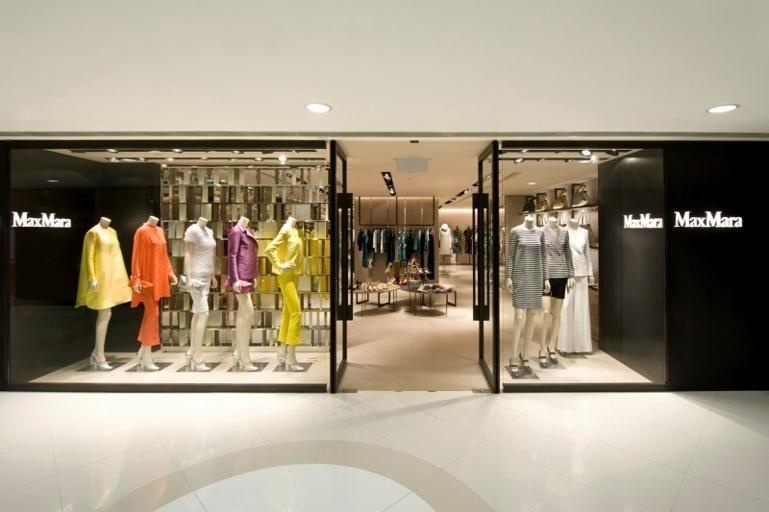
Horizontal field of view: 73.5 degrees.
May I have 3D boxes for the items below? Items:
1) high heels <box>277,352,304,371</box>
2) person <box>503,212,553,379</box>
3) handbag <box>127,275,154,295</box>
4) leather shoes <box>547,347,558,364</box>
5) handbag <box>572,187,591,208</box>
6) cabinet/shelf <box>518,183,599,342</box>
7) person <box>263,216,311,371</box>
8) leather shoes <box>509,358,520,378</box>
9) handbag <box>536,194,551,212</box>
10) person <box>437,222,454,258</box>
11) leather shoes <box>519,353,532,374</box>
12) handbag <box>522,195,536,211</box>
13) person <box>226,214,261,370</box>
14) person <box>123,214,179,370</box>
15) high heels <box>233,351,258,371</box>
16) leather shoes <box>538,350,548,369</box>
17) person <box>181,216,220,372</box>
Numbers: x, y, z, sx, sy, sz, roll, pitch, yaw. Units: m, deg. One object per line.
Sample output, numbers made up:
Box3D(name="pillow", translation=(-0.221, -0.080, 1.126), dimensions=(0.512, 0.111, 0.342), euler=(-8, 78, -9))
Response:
Box3D(name="high heels", translation=(-1.109, 1.472, 6.390), dimensions=(0.450, 0.193, 0.152), euler=(1, -3, 2))
Box3D(name="person", translation=(1.691, 0.540, 6.059), dimensions=(0.492, 2.000, 0.139), euler=(-1, 1, -15))
Box3D(name="handbag", translation=(-2.897, 0.428, 6.144), dimensions=(0.221, 0.221, 0.096), euler=(4, 9, -23))
Box3D(name="leather shoes", translation=(2.007, 1.329, 6.155), dimensions=(0.082, 0.229, 0.063), euler=(-7, -2, -13))
Box3D(name="handbag", translation=(2.324, -0.679, 6.104), dimensions=(0.252, 0.291, 0.165), euler=(0, -2, -1))
Box3D(name="cabinet/shelf", translation=(1.997, 0.320, 6.218), dimensions=(0.699, 2.142, 0.358), euler=(-1, 0, -17))
Box3D(name="person", translation=(-1.209, 0.562, 6.330), dimensions=(0.433, 1.983, 0.354), euler=(-1, 1, -9))
Box3D(name="leather shoes", translation=(1.514, 1.440, 6.012), dimensions=(0.136, 0.210, 0.067), euler=(-1, 1, 14))
Box3D(name="handbag", translation=(1.848, -0.596, 6.018), dimensions=(0.204, 0.243, 0.139), euler=(0, -3, -7))
Box3D(name="person", translation=(1.384, -0.270, 11.590), dimensions=(0.332, 0.769, 0.186), euler=(-1, 1, -3))
Box3D(name="leather shoes", translation=(1.649, 1.387, 6.034), dimensions=(0.097, 0.244, 0.070), euler=(-7, -9, -9))
Box3D(name="handbag", translation=(1.686, -0.576, 6.004), dimensions=(0.164, 0.277, 0.160), euler=(1, -4, 10))
Box3D(name="person", translation=(-1.752, 0.559, 6.377), dimensions=(0.381, 1.987, 0.467), euler=(-1, 1, -15))
Box3D(name="person", translation=(-2.843, 0.544, 6.406), dimensions=(0.526, 1.981, 0.467), euler=(-1, 1, -23))
Box3D(name="high heels", translation=(-1.781, 1.454, 6.440), dimensions=(0.460, 0.196, 0.156), euler=(-1, -4, 37))
Box3D(name="leather shoes", translation=(1.887, 1.363, 6.123), dimensions=(0.078, 0.235, 0.064), euler=(-5, -5, 12))
Box3D(name="person", translation=(-2.265, 0.563, 6.327), dimensions=(0.372, 1.967, 0.255), euler=(-1, 1, -27))
